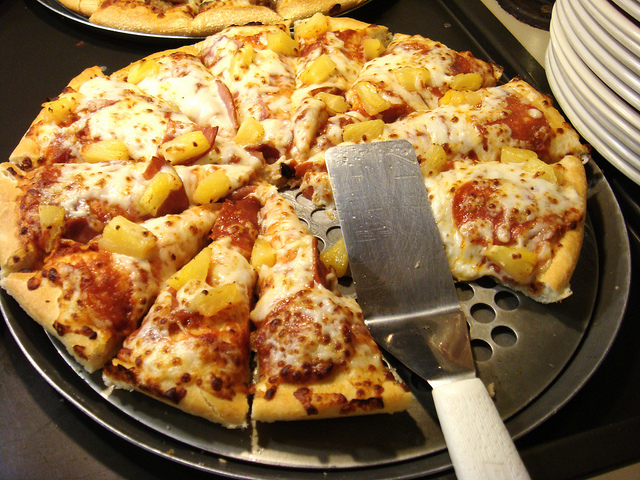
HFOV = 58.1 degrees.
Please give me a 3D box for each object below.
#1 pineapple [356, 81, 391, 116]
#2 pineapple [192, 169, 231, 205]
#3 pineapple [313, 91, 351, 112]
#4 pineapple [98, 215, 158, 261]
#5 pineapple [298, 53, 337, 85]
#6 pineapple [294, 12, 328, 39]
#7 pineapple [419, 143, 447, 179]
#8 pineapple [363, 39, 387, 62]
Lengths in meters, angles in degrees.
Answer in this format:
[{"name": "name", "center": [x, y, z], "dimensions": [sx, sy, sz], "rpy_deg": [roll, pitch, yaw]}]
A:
[{"name": "pineapple", "center": [0.230, -0.618, 2.572], "dimensions": [0.101, 0.062, 0.167], "rpy_deg": [-24, 73, -3]}, {"name": "pineapple", "center": [-0.437, -0.206, 2.323], "dimensions": [0.155, 0.061, 0.098], "rpy_deg": [-39, 94, -14]}, {"name": "pineapple", "center": [0.055, -0.623, 2.580], "dimensions": [0.127, 0.036, 0.091], "rpy_deg": [22, 42, -30]}, {"name": "pineapple", "center": [-0.699, -0.002, 2.075], "dimensions": [0.153, 0.057, 0.162], "rpy_deg": [28, 70, 8]}, {"name": "pineapple", "center": [-0.009, -0.775, 2.704], "dimensions": [0.104, 0.050, 0.159], "rpy_deg": [34, 84, 8]}, {"name": "pineapple", "center": [-0.052, -1.066, 2.879], "dimensions": [0.147, 0.058, 0.154], "rpy_deg": [-18, 43, -2]}, {"name": "pineapple", "center": [0.497, -0.325, 2.392], "dimensions": [0.102, 0.172, 0.042], "rpy_deg": [29, 67, 23]}, {"name": "pineapple", "center": [0.261, -0.941, 2.871], "dimensions": [0.099, 0.103, 0.101], "rpy_deg": [-23, 36, 8]}]
